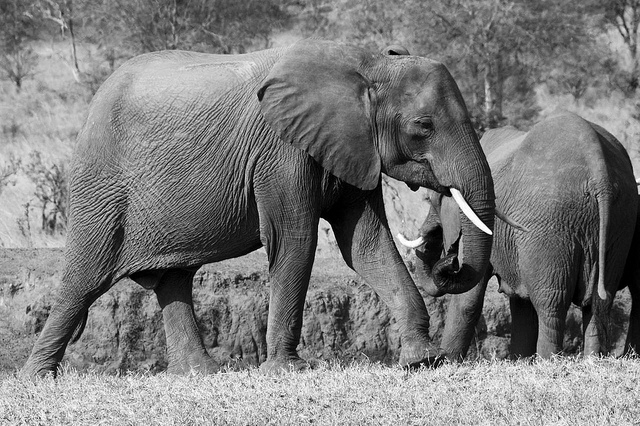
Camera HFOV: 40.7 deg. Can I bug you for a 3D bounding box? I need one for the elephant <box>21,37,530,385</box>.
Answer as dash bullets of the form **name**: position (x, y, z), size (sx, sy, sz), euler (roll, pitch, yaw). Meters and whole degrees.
- **elephant**: position (-0.441, -0.154, 9.017), size (4.999, 3.549, 2.409), euler (-3, 0, 13)
